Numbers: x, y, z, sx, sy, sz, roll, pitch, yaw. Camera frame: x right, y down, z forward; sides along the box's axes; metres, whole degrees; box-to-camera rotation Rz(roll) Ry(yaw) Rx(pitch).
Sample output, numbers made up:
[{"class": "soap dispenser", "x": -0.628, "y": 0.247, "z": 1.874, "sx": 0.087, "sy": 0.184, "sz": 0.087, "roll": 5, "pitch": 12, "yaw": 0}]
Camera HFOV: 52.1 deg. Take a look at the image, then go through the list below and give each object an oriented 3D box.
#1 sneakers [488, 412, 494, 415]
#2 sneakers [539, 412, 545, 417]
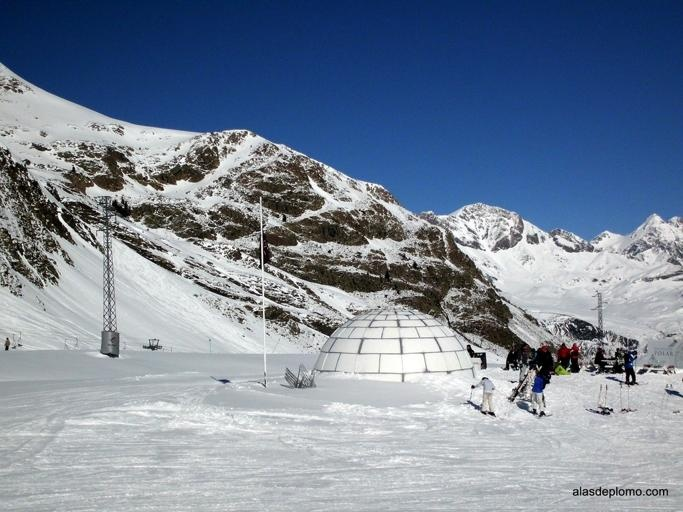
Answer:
[{"class": "sneakers", "x": 5.611, "y": 5.851, "z": 25.843, "sx": 0.195, "sy": 0.125, "sz": 0.120, "roll": 3, "pitch": -15, "yaw": -2}, {"class": "sneakers", "x": 7.543, "y": 5.886, "z": 26.032, "sx": 0.152, "sy": 0.200, "sz": 0.337, "roll": -11, "pitch": -19, "yaw": 41}]
